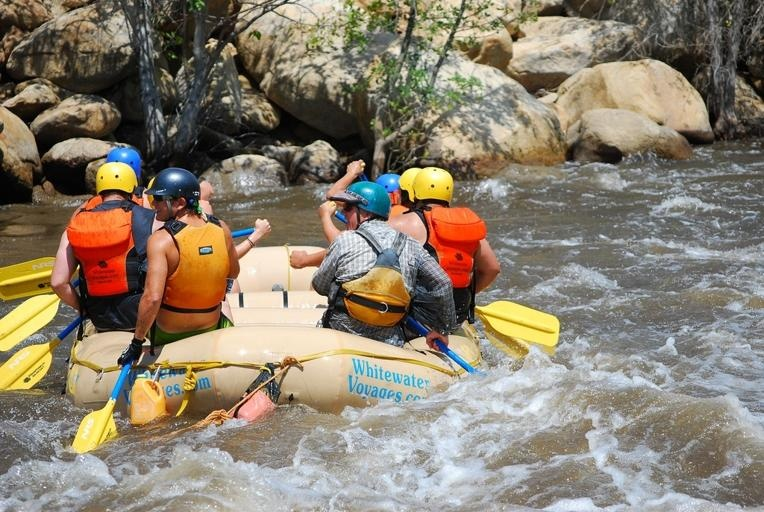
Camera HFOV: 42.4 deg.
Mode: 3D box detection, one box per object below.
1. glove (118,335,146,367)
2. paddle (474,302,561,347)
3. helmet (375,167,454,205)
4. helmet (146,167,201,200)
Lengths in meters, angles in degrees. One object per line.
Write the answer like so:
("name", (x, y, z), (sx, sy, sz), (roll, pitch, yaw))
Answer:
("glove", (-2.967, 1.147, 11.686), (0.261, 0.395, 0.110), (19, 5, -18))
("paddle", (1.821, 0.872, 12.963), (1.394, 0.453, 0.266), (17, -3, -4))
("helmet", (0.606, -0.879, 12.730), (0.612, 0.461, 0.433), (-13, 0, 25))
("helmet", (-2.510, -0.896, 11.869), (0.687, 0.343, 0.481), (5, 11, -7))
